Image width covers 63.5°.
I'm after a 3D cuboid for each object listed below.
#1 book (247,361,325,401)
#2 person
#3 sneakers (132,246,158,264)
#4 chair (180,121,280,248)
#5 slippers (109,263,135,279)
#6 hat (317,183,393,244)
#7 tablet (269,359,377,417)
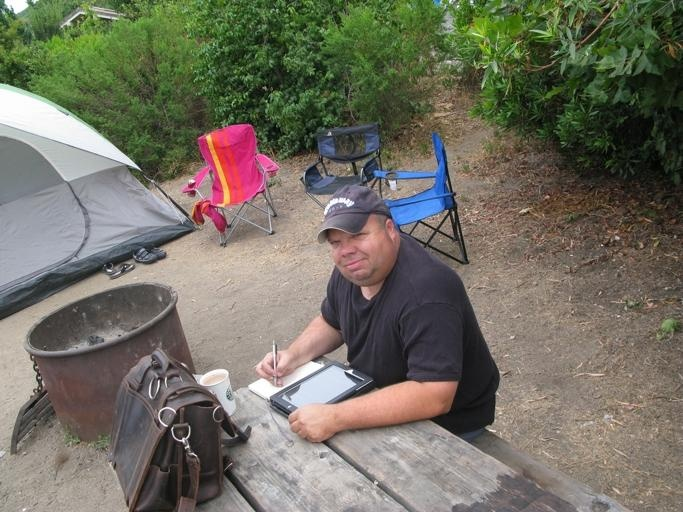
[{"bbox_3d":[-0.328,0.724,3.231,0.261,0.046,0.247,-29,24,-36],"label":"book"},{"bbox_3d":[0.209,0.376,3.190,0.975,1.824,0.916,-6,8,-37],"label":"person"},{"bbox_3d":[-2.651,-0.029,7.427,0.343,0.152,0.180,10,25,37],"label":"sneakers"},{"bbox_3d":[-1.465,-1.158,8.120,1.570,1.973,1.502,-13,26,-16],"label":"chair"},{"bbox_3d":[-2.894,0.196,7.196,0.298,0.107,0.173,-22,18,0],"label":"slippers"},{"bbox_3d":[0.045,-0.293,3.196,0.337,0.262,0.500,-4,11,38],"label":"hat"},{"bbox_3d":[-0.111,0.736,3.048,0.373,0.061,0.296,-26,16,-32],"label":"tablet"}]
